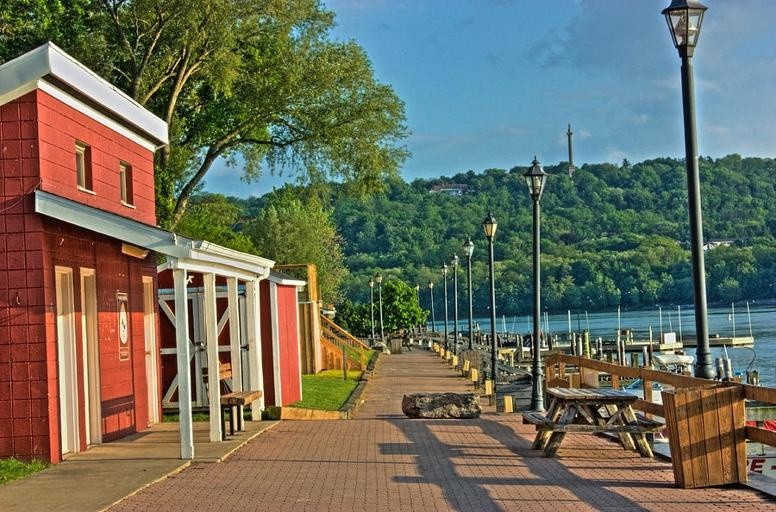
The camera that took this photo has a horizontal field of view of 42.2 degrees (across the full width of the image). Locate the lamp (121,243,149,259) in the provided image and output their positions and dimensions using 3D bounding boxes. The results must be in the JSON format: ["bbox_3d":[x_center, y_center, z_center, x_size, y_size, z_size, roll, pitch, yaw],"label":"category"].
[{"bbox_3d":[-5.963,-0.078,23.575,0.287,0.365,1.227,11,-2,4],"label":"lamp"}]

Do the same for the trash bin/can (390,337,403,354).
[{"bbox_3d":[0.496,5.692,62.596,0.798,0.845,0.800,-1,0,11],"label":"trash bin/can"}]
